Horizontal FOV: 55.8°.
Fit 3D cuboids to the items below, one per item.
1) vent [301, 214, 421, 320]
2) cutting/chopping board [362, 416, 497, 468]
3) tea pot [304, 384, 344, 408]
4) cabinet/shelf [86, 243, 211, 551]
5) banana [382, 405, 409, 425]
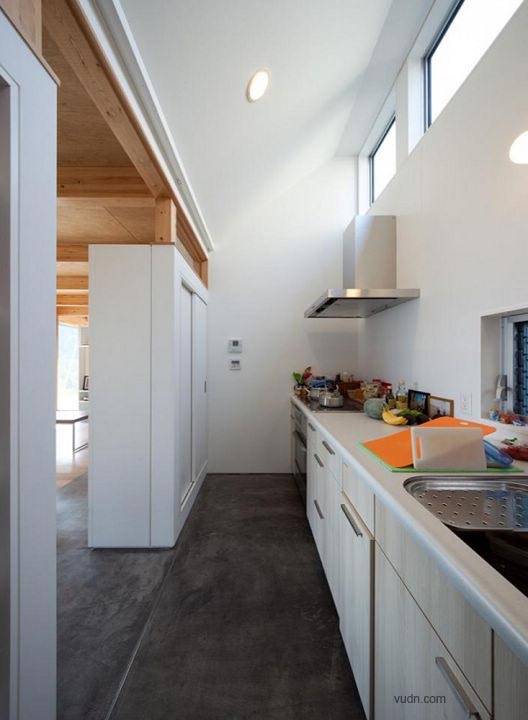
[{"bbox_3d":[0.569,-0.588,3.149,0.571,0.634,1.080,0,5,4],"label":"vent"},{"bbox_3d":[0.551,0.255,1.646,0.383,0.142,0.340,0,6,-1],"label":"cutting/chopping board"},{"bbox_3d":[0.419,0.241,3.270,0.092,0.160,0.353,1,2,-4],"label":"tea pot"},{"bbox_3d":[-0.651,0.228,2.754,0.330,1.743,1.460,0,0,1],"label":"cabinet/shelf"},{"bbox_3d":[0.635,0.276,2.442,0.046,0.122,0.139,-2,-3,-29],"label":"banana"}]
